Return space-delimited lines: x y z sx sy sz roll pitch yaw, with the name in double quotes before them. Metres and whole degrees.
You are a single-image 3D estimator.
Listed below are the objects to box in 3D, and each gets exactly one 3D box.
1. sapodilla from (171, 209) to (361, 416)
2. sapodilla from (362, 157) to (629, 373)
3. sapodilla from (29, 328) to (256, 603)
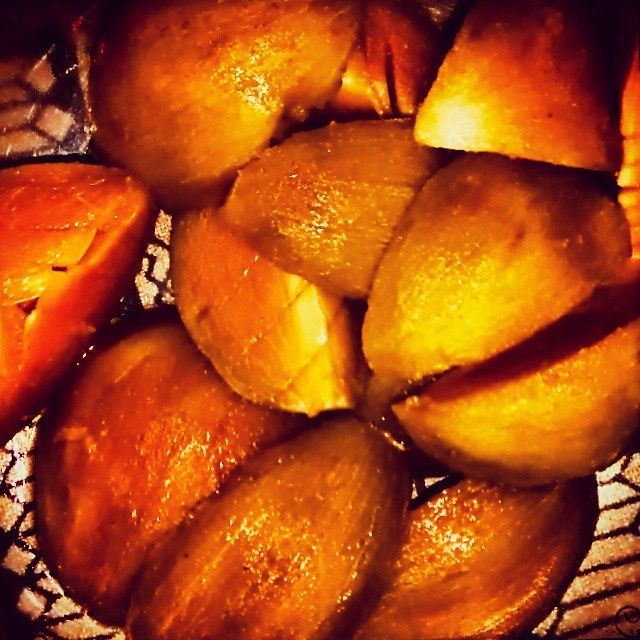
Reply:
"sapodilla" -0.082 -0.025 1.607 0.333 0.200 0.092 56 19 -6
"sapodilla" 0.254 -0.071 1.519 0.373 0.223 0.225 3 54 -4
"sapodilla" -0.262 0.263 1.674 0.286 0.204 0.434 18 98 19
